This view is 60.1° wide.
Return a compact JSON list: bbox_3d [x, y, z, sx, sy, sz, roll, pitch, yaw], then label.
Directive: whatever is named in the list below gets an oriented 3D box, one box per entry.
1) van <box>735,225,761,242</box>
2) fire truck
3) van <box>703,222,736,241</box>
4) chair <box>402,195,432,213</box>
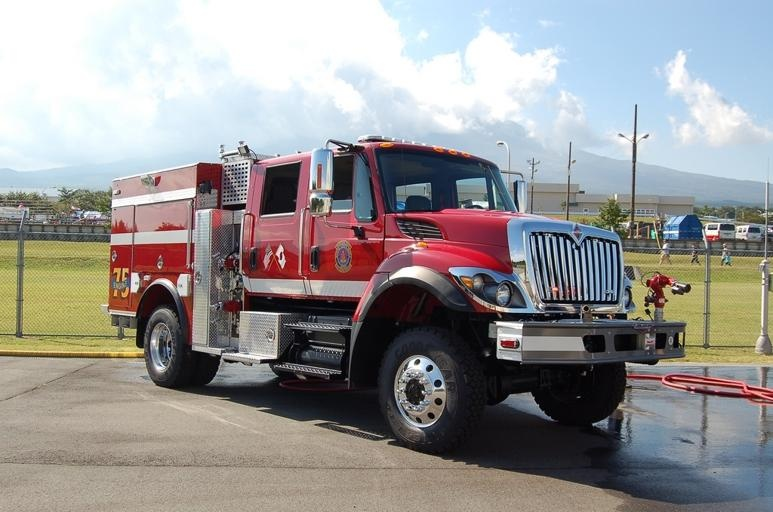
[{"bbox_3d":[42.905,-2.738,78.870,2.767,2.247,4.226,0,2,-6],"label":"van"},{"bbox_3d":[-0.837,0.321,10.941,10.135,3.905,3.077,2,-1,41],"label":"fire truck"},{"bbox_3d":[40.515,-3.290,80.730,4.843,1.724,2.330,4,-1,-43],"label":"van"},{"bbox_3d":[0.431,-0.725,9.088,0.423,0.206,0.145,3,-1,-23],"label":"chair"}]
